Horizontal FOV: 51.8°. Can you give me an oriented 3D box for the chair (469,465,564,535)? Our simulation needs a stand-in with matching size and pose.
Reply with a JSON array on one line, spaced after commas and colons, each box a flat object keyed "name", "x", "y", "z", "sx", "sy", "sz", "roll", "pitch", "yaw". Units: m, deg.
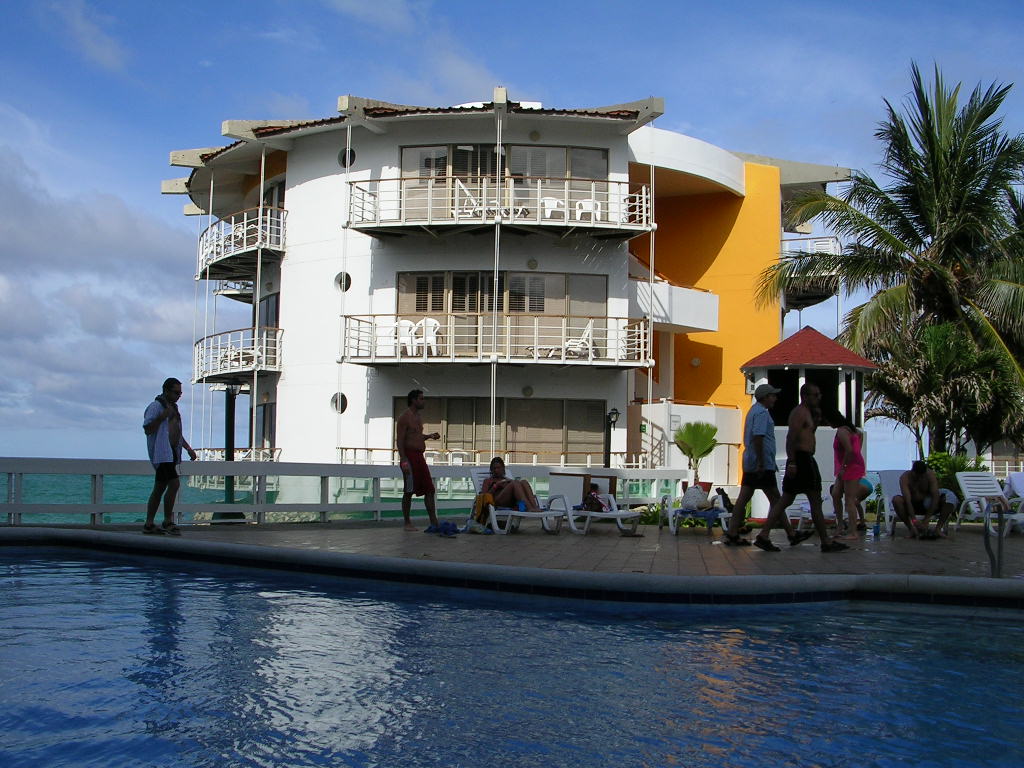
[{"name": "chair", "x": 0.171, "y": 1.905, "z": 17.176, "sx": 0.987, "sy": 1.055, "sz": 1.529, "roll": 2, "pitch": -6, "yaw": -35}]

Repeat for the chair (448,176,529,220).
[{"name": "chair", "x": -0.662, "y": -4.957, "z": 28.527, "sx": 2.133, "sy": 1.481, "sz": 1.394, "roll": 0, "pitch": -6, "yaw": -4}]

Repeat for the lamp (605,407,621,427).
[{"name": "lamp", "x": 2.809, "y": 0.962, "z": 29.503, "sx": 0.409, "sy": 0.599, "sz": 0.465, "roll": -1, "pitch": 2, "yaw": 5}]

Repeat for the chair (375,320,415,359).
[{"name": "chair", "x": -3.280, "y": -1.221, "z": 28.822, "sx": 1.208, "sy": 1.255, "sz": 0.961, "roll": 0, "pitch": -6, "yaw": 3}]

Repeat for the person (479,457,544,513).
[{"name": "person", "x": -0.069, "y": 1.661, "z": 17.289, "sx": 1.045, "sy": 0.827, "sz": 0.773, "roll": -2, "pitch": -7, "yaw": 14}]

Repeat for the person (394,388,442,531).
[{"name": "person", "x": -1.512, "y": 1.176, "z": 16.538, "sx": 0.632, "sy": 2.193, "sz": 1.437, "roll": 0, "pitch": -6, "yaw": -5}]

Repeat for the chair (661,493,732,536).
[{"name": "chair", "x": 3.085, "y": 2.164, "z": 17.041, "sx": 0.767, "sy": 0.534, "sz": 0.792, "roll": 5, "pitch": -6, "yaw": -22}]

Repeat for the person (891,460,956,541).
[{"name": "person", "x": 6.480, "y": 1.770, "z": 16.574, "sx": 0.888, "sy": 1.190, "sz": 0.801, "roll": -2, "pitch": 15, "yaw": 24}]

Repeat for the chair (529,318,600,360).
[{"name": "chair", "x": 1.579, "y": -1.066, "z": 28.447, "sx": 2.333, "sy": 1.456, "sz": 0.770, "roll": 0, "pitch": 0, "yaw": 9}]

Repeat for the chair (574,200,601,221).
[{"name": "chair", "x": 2.063, "y": -4.747, "z": 28.832, "sx": 0.774, "sy": 0.771, "sz": 0.580, "roll": 0, "pitch": -4, "yaw": -5}]

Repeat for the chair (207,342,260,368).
[{"name": "chair", "x": -8.277, "y": -0.812, "z": 31.502, "sx": 2.018, "sy": 0.910, "sz": 0.600, "roll": -3, "pitch": -3, "yaw": 28}]

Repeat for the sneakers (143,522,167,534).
[{"name": "sneakers", "x": -5.255, "y": 2.119, "z": 15.321, "sx": 0.314, "sy": 0.142, "sz": 0.140, "roll": -2, "pitch": -3, "yaw": 23}]

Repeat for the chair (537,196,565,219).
[{"name": "chair", "x": 1.031, "y": -4.805, "z": 28.933, "sx": 0.623, "sy": 0.839, "sz": 0.618, "roll": 1, "pitch": -7, "yaw": -4}]

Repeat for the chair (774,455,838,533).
[{"name": "chair", "x": 3.913, "y": 1.377, "z": 14.316, "sx": 0.706, "sy": 1.005, "sz": 0.617, "roll": 0, "pitch": -4, "yaw": 18}]

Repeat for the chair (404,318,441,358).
[{"name": "chair", "x": -2.533, "y": -1.241, "z": 28.862, "sx": 0.954, "sy": 1.344, "sz": 0.984, "roll": 0, "pitch": -6, "yaw": 20}]

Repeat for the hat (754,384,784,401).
[{"name": "hat", "x": 3.962, "y": 0.150, "z": 16.199, "sx": 0.428, "sy": 0.226, "sz": 0.326, "roll": -9, "pitch": 5, "yaw": -13}]

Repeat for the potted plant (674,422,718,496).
[{"name": "potted plant", "x": 4.963, "y": 2.055, "z": 28.857, "sx": 1.436, "sy": 1.861, "sz": 1.504, "roll": -3, "pitch": 6, "yaw": 4}]

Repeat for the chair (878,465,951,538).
[{"name": "chair", "x": 6.583, "y": 1.829, "z": 16.956, "sx": 0.966, "sy": 1.130, "sz": 1.767, "roll": -1, "pitch": 1, "yaw": 19}]
